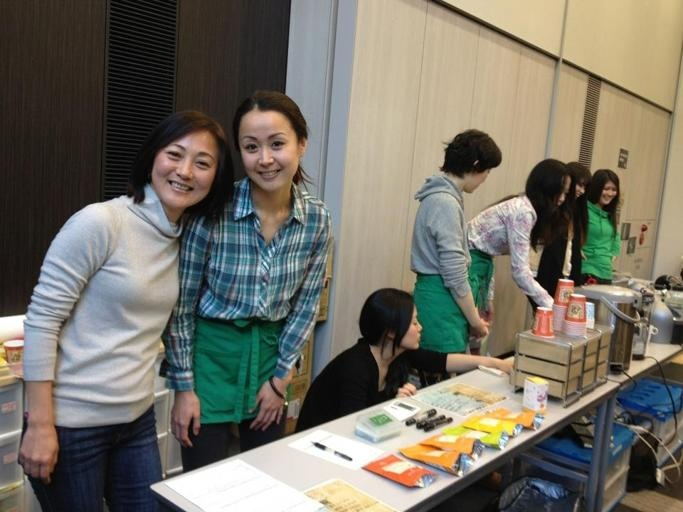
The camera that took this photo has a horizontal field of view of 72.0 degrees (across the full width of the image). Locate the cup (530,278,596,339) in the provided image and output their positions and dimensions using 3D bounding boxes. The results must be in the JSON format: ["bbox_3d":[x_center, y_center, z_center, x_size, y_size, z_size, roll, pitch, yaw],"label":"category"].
[{"bbox_3d":[1.079,0.246,2.267,0.342,0.350,0.216,1,-7,20],"label":"cup"}]
